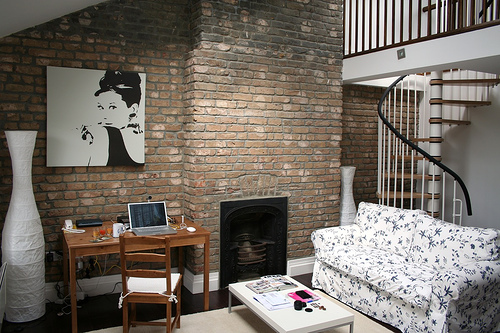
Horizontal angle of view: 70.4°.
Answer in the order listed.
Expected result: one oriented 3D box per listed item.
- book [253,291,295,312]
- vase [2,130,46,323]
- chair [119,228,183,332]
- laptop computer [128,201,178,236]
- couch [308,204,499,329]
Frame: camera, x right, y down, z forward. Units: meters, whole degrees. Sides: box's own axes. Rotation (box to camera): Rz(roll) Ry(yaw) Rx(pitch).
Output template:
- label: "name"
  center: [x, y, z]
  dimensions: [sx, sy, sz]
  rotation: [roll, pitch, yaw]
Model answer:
- label: "book"
  center: [0.246, 1.412, 3.727]
  dimensions: [0.309, 0.052, 0.324]
  rotation: [-5, 5, -29]
- label: "vase"
  center: [-2.528, 0.669, 3.913]
  dimensions: [0.485, 2.127, 0.188]
  rotation: [-6, 7, -30]
- label: "chair"
  center: [-1.126, 1.229, 3.995]
  dimensions: [0.722, 1.150, 1.070]
  rotation: [-4, 6, -17]
- label: "laptop computer"
  center: [-1.164, 0.619, 4.239]
  dimensions: [0.504, 0.344, 0.470]
  rotation: [-4, 5, -21]
- label: "couch"
  center: [1.865, 1.130, 4.179]
  dimensions: [1.316, 1.195, 2.373]
  rotation: [7, -4, -32]
